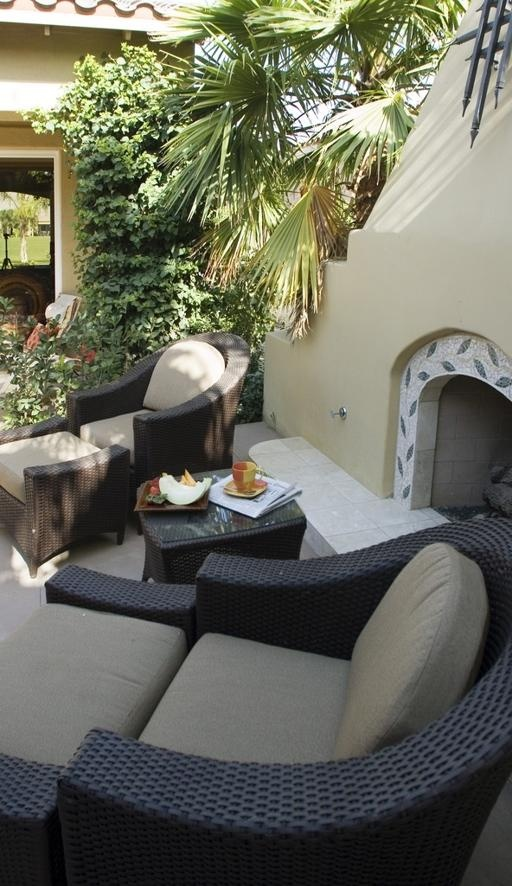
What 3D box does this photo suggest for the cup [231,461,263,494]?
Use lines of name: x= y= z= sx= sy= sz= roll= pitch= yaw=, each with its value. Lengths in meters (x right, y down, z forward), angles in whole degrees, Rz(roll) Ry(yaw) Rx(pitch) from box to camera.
cup: x=-0.043 y=0.148 z=2.810 sx=0.097 sy=0.108 sz=0.145 roll=-7 pitch=-2 yaw=14
